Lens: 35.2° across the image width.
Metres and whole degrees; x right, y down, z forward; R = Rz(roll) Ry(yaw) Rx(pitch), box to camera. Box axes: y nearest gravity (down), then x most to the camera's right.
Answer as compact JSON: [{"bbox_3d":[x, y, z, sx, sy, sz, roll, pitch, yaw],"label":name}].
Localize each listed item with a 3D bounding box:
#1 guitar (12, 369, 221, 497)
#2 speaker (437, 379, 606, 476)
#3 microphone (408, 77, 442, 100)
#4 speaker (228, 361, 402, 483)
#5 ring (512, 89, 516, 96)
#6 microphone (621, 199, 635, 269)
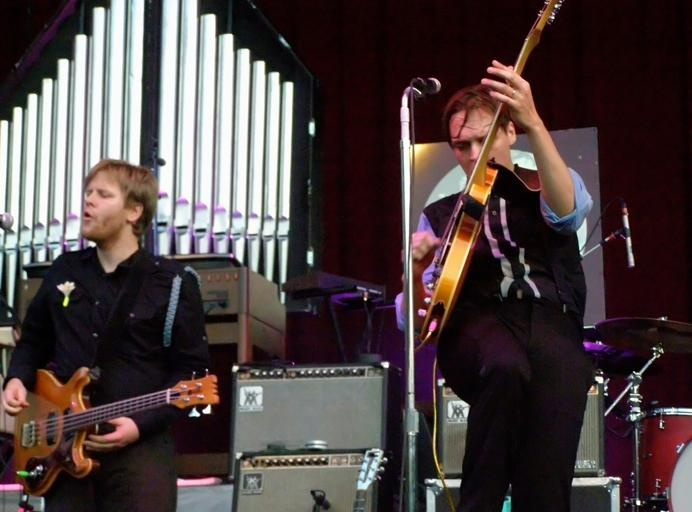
[{"bbox_3d":[-1.217,0.859,5.411,0.944,0.611,0.294,-3,-12,18],"label":"guitar"},{"bbox_3d":[1.000,1.005,6.276,0.850,0.740,0.551,0,-5,4],"label":"speaker"},{"bbox_3d":[0.462,-0.861,5.579,0.268,0.113,0.116,-1,14,-22],"label":"microphone"},{"bbox_3d":[-0.177,0.839,6.118,0.977,0.776,0.590,-2,-15,6],"label":"speaker"},{"bbox_3d":[0.758,-0.756,4.956,0.025,0.027,0.007,-2,2,-5],"label":"ring"},{"bbox_3d":[1.951,-0.151,7.579,0.065,0.492,0.061,-2,-7,17],"label":"microphone"}]
